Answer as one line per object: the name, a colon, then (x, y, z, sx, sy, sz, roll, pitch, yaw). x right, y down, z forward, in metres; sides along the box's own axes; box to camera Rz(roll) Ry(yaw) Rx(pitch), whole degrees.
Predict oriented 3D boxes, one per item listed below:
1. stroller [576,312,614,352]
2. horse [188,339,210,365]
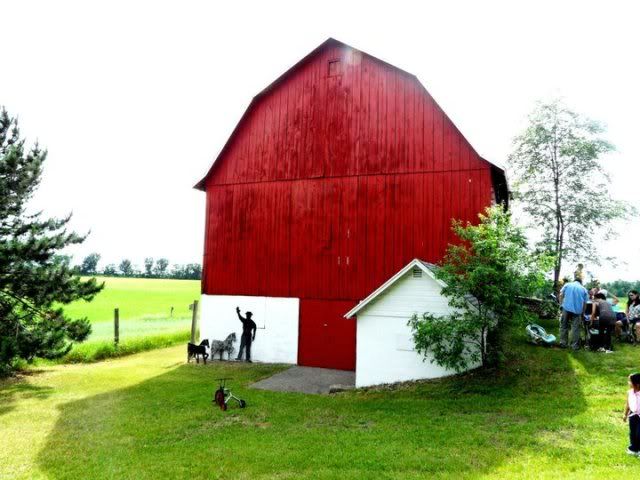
stroller: (9.859, 3.206, 18.676, 1.125, 1.902, 1.345, 1, -7, 14)
horse: (-5.323, 4.903, 23.112, 0.962, 0.996, 1.436, -5, 6, -15)
